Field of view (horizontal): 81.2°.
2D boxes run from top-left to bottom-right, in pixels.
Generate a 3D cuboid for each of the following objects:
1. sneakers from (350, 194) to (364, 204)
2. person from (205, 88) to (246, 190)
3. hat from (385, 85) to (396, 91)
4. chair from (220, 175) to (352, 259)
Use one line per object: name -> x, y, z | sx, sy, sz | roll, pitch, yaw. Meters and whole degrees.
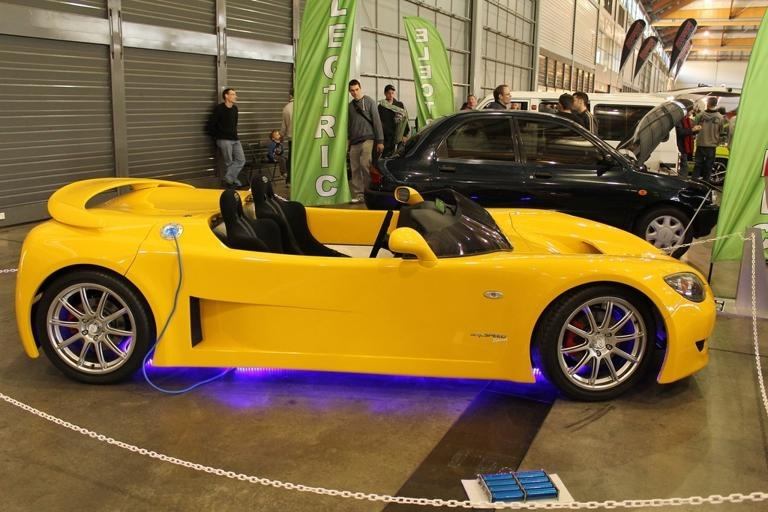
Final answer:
sneakers -> -0.652, -1.447, 11.390 | 0.211, 0.204, 0.550 | 0, -1, 28
person -> -4.148, -3.063, 11.718 | 0.697, 2.525, 1.024 | -10, 19, -32
hat -> 0.137, -4.419, 11.809 | 0.181, 0.208, 0.437 | 3, 15, 9
chair -> -0.592, -0.275, 3.587 | 0.988, 0.767, 0.639 | -6, 14, 10
